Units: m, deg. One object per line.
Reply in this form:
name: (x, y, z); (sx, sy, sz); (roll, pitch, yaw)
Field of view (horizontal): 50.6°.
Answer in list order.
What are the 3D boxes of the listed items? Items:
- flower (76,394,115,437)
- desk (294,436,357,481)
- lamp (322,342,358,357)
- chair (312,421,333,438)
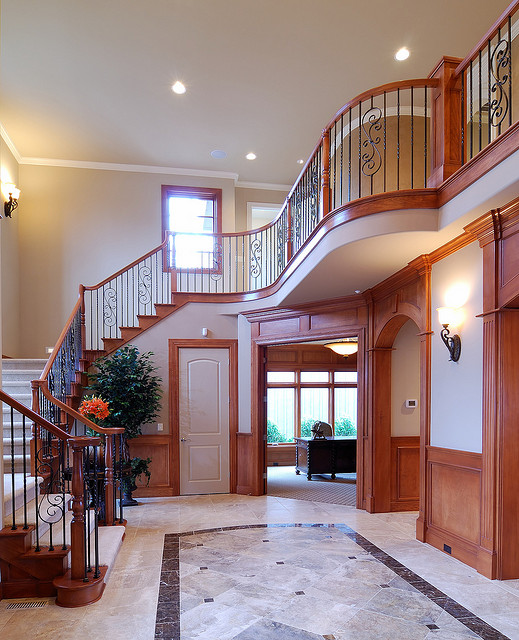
flower: (-1.896, 1.106, 6.398); (0.396, 0.493, 0.438); (-7, 31, -33)
desk: (1.168, 2.404, 9.693); (0.940, 0.677, 0.787); (0, -7, -6)
lamp: (1.470, 0.499, 9.808); (0.423, 0.181, 0.442); (-3, 0, 22)
chair: (1.115, 1.969, 9.867); (0.298, 0.331, 0.345); (-5, -10, 38)
